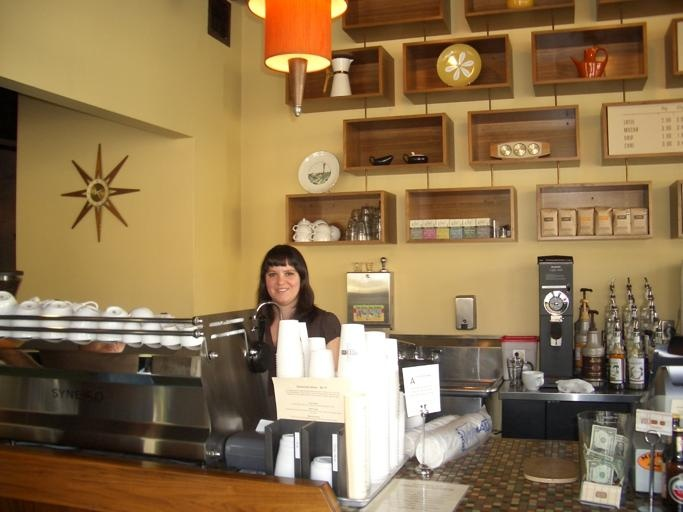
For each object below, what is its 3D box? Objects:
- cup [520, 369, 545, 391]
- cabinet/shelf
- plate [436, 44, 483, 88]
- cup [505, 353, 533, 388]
[{"bbox_3d":[1.189,0.774,3.684,0.101,0.092,0.129,2,1,-12],"label":"cup"},{"bbox_3d":[1.123,-0.985,4.192,2.429,1.698,0.456,4,8,14],"label":"cabinet/shelf"},{"bbox_3d":[0.813,-1.329,4.111,0.290,0.316,0.141,3,8,8],"label":"plate"},{"bbox_3d":[1.127,0.736,3.831,0.226,0.277,0.139,1,-2,-3],"label":"cup"}]
